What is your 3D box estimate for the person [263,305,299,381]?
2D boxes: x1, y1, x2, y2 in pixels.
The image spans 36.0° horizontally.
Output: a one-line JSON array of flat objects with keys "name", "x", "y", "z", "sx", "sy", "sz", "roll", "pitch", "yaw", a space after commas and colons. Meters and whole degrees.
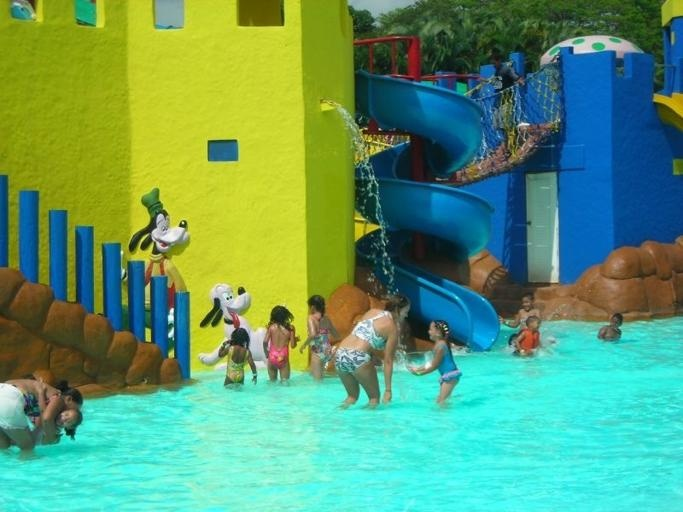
[{"name": "person", "x": -0.790, "y": 1.086, "z": 13.065, "sx": 0.384, "sy": 0.919, "sz": 0.255, "roll": 0, "pitch": 12, "yaw": -2}]

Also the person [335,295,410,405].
[{"name": "person", "x": 0.329, "y": 1.294, "z": 12.178, "sx": 0.873, "sy": 1.710, "sz": 0.717, "roll": 4, "pitch": 5, "yaw": -5}]

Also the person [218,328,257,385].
[{"name": "person", "x": -1.303, "y": 1.212, "z": 13.005, "sx": 0.447, "sy": 0.729, "sz": 0.587, "roll": -1, "pitch": 12, "yaw": -6}]

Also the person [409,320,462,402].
[{"name": "person", "x": 1.082, "y": 1.379, "z": 12.377, "sx": 0.639, "sy": 1.198, "sz": 0.415, "roll": -3, "pitch": 7, "yaw": 7}]

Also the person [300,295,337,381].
[{"name": "person", "x": -0.320, "y": 1.006, "z": 13.318, "sx": 0.449, "sy": 1.104, "sz": 0.713, "roll": 0, "pitch": 12, "yaw": -3}]
